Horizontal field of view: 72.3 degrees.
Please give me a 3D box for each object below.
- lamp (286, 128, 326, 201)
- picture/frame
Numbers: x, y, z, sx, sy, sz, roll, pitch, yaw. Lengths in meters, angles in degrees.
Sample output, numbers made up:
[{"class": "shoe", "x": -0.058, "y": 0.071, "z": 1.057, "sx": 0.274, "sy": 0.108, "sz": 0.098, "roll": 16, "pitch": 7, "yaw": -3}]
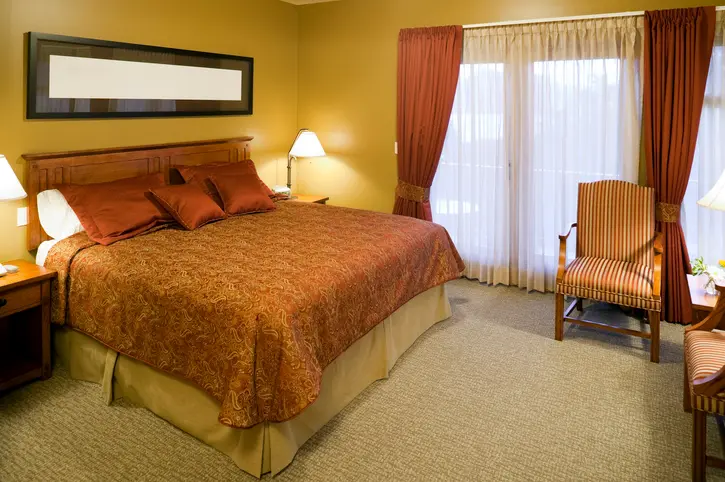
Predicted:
[{"class": "lamp", "x": -0.787, "y": -1.064, "z": 6.800, "sx": 0.539, "sy": 0.888, "sz": 0.517, "roll": 5, "pitch": 17, "yaw": 10}, {"class": "picture/frame", "x": -2.383, "y": -1.759, "z": 5.426, "sx": 2.321, "sy": 0.919, "sz": 0.498, "roll": -17, "pitch": 23, "yaw": -35}]
